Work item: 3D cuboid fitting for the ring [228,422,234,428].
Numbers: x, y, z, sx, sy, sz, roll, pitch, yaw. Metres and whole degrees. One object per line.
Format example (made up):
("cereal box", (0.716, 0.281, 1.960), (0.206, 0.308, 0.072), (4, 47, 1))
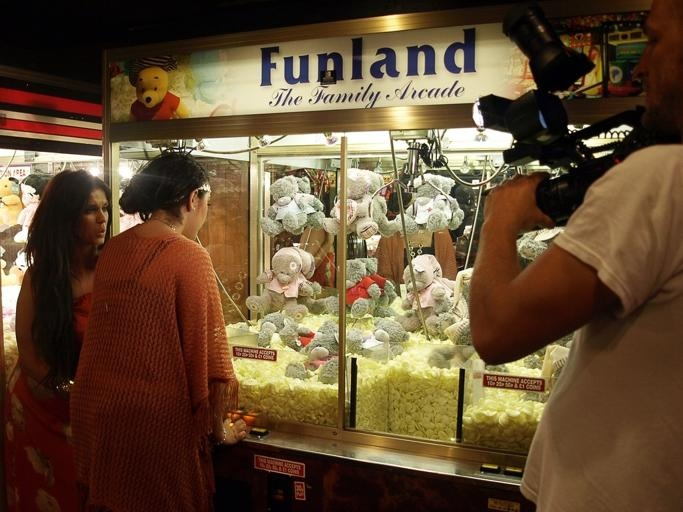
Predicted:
("ring", (-0.518, 0.785, 2.366), (0.025, 0.007, 0.025), (3, -2, 0))
